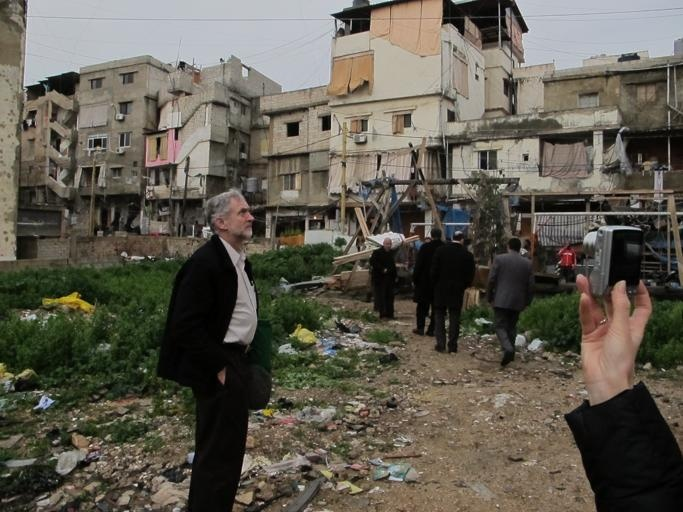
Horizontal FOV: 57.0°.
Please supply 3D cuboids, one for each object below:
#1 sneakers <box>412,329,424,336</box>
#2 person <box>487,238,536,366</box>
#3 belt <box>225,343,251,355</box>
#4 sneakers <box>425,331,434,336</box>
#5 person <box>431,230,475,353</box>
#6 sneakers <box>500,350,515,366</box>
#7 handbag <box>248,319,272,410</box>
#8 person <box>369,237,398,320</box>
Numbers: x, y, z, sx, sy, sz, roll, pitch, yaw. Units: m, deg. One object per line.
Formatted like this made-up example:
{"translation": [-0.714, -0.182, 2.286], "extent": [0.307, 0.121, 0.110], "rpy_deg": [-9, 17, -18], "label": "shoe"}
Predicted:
{"translation": [1.498, 1.484, 12.350], "extent": [0.077, 0.174, 0.229], "rpy_deg": [-7, 16, -33], "label": "sneakers"}
{"translation": [2.773, 0.738, 10.477], "extent": [0.670, 2.056, 0.672], "rpy_deg": [-6, 11, -38], "label": "person"}
{"translation": [-0.963, 0.837, 5.726], "extent": [0.140, 0.057, 0.112], "rpy_deg": [6, 4, -2], "label": "belt"}
{"translation": [1.700, 1.528, 12.210], "extent": [0.114, 0.121, 0.056], "rpy_deg": [-9, -9, 43], "label": "sneakers"}
{"translation": [1.934, 0.643, 11.059], "extent": [0.712, 2.047, 0.646], "rpy_deg": [2, 9, 12], "label": "person"}
{"translation": [2.712, 1.657, 10.333], "extent": [0.203, 0.312, 0.327], "rpy_deg": [3, 9, 14], "label": "sneakers"}
{"translation": [-0.831, 1.024, 5.890], "extent": [0.235, 0.828, 0.275], "rpy_deg": [-7, -11, 38], "label": "handbag"}
{"translation": [0.932, 0.501, 14.264], "extent": [0.574, 1.728, 0.726], "rpy_deg": [1, 9, 3], "label": "person"}
